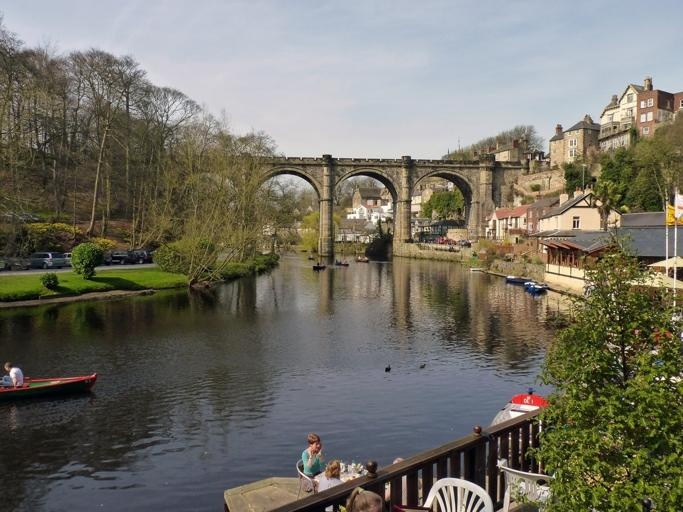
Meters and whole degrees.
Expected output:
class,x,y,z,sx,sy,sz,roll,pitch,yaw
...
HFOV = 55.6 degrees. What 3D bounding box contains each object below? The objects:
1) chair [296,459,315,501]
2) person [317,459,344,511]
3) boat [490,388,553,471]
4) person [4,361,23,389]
class,x,y,z,sx,sy,sz,roll,pitch,yaw
chair,-0.960,6.122,17.696,0.561,0.837,0.647,-2,0,11
person,-0.295,5.577,16.380,0.586,0.820,1.083,-1,2,-3
boat,5.686,5.450,21.024,1.594,1.323,3.987,5,-1,33
person,-13.156,4.776,25.928,0.618,1.146,0.672,2,13,24
